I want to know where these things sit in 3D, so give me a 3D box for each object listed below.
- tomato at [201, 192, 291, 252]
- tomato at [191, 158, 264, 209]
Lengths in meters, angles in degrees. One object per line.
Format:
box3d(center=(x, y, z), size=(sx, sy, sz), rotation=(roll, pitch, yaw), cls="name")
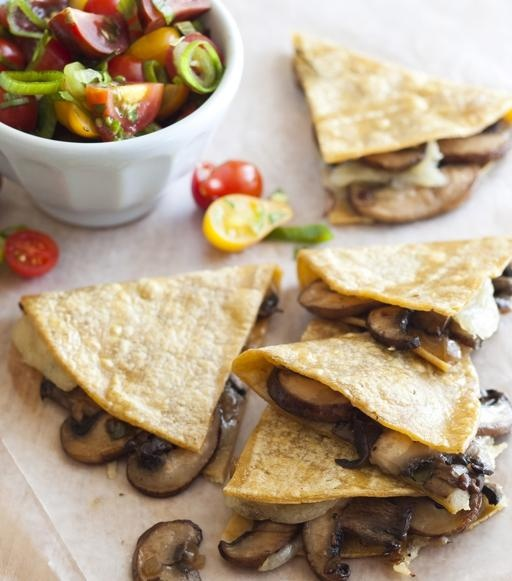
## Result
box3d(center=(-0.033, -0.248, 2.500), size=(0.334, 0.140, 0.162), rotation=(-11, 76, -19), cls="tomato")
box3d(center=(-0.097, -0.435, 2.609), size=(0.233, 0.186, 0.219), rotation=(-2, 11, -44), cls="tomato")
